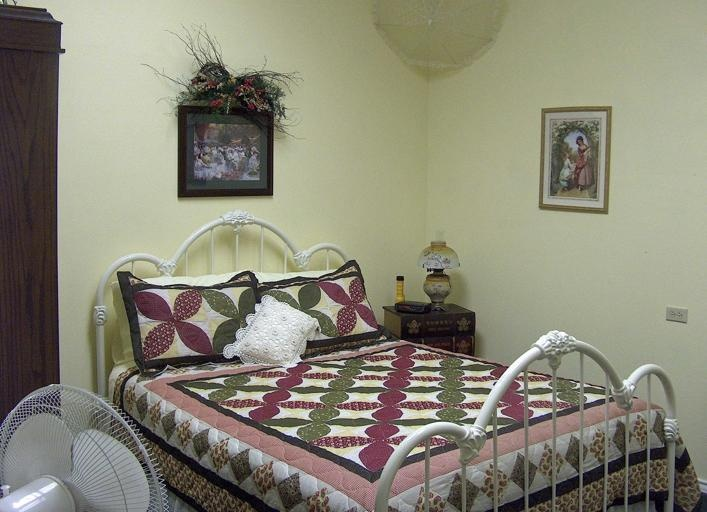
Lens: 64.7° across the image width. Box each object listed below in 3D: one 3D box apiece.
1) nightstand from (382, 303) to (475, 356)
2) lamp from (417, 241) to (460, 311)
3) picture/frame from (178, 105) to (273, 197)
[{"bbox_3d":[0.544,0.622,3.936,0.536,0.516,0.425,-1,6,0],"label":"nightstand"},{"bbox_3d":[0.586,0.126,3.938,0.295,0.503,0.284,0,3,19],"label":"lamp"},{"bbox_3d":[-0.801,-0.652,3.375,0.560,0.481,0.046,-2,5,-34],"label":"picture/frame"}]
